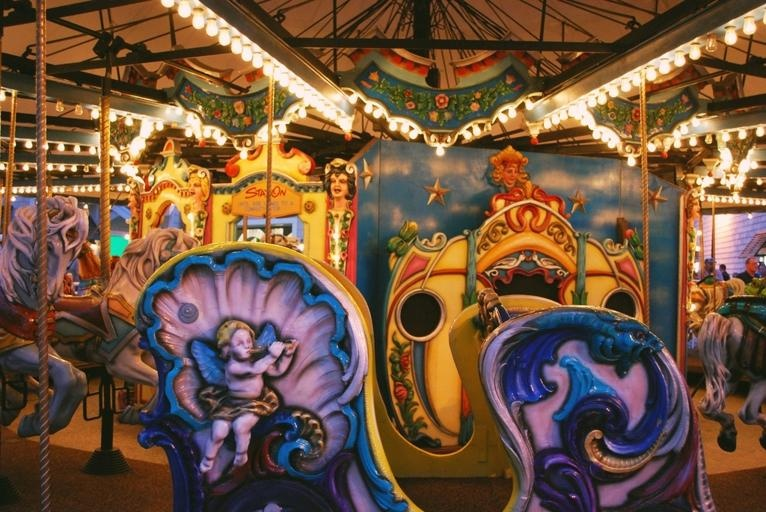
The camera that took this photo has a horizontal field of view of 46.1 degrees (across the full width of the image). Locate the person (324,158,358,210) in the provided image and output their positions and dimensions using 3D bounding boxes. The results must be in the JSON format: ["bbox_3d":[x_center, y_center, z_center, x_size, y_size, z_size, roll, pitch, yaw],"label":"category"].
[{"bbox_3d":[-0.470,-0.833,10.353,0.487,0.911,0.297,0,4,-1],"label":"person"}]

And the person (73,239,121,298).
[{"bbox_3d":[-3.287,0.167,10.287,0.382,0.542,0.781,-21,1,-14],"label":"person"}]
